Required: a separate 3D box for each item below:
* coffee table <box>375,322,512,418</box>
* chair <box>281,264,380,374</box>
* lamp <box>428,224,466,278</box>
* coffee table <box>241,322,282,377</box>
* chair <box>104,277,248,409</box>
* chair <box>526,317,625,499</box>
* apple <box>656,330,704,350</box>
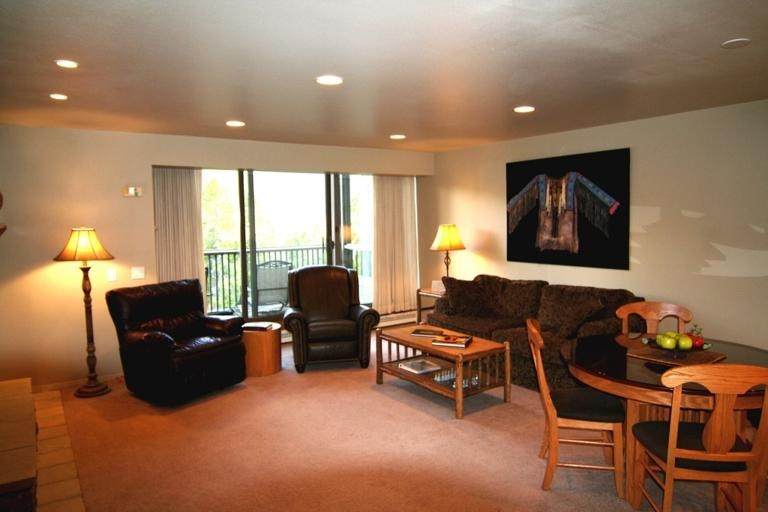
[{"bbox_3d":[0.753,1.390,5.939,0.890,0.664,1.415,-2,4,-37],"label":"coffee table"},{"bbox_3d":[-0.769,0.772,7.078,1.189,1.221,1.053,-2,2,-17],"label":"chair"},{"bbox_3d":[0.986,-0.082,8.228,0.465,0.811,0.782,-1,4,11],"label":"lamp"},{"bbox_3d":[-1.452,1.135,6.740,0.609,0.623,0.579,0,3,-12],"label":"coffee table"},{"bbox_3d":[-2.355,0.908,6.187,1.124,1.104,1.189,9,11,34],"label":"chair"},{"bbox_3d":[1.620,1.272,4.653,0.780,1.161,0.734,1,5,13],"label":"chair"},{"bbox_3d":[2.409,0.694,4.379,0.246,0.082,0.202,-1,1,-20],"label":"apple"}]
